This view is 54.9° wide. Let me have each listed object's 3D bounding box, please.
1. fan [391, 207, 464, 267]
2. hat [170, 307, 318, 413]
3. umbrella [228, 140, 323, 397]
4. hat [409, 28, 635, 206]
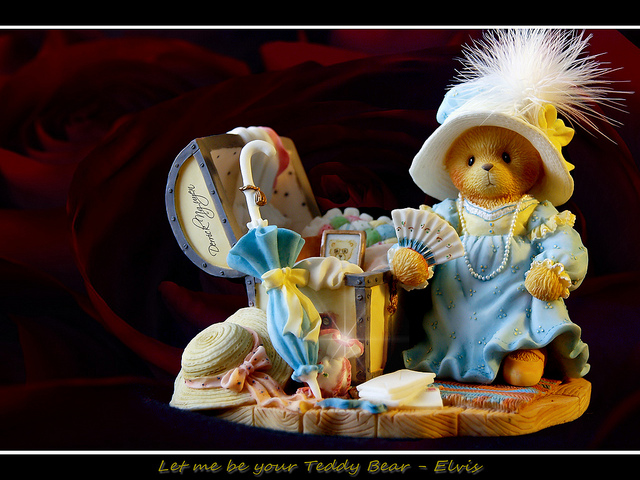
[{"bbox_3d":[0.547,-0.023,3.075,0.322,0.281,0.256,5,15,33],"label":"fan"},{"bbox_3d":[-0.291,0.612,3.010,0.576,0.425,0.646,8,11,38],"label":"hat"},{"bbox_3d":[-0.226,0.104,2.994,0.355,1.204,0.510,-3,0,-41],"label":"umbrella"},{"bbox_3d":[1.154,-0.628,3.393,0.804,0.993,1.068,-14,23,-31],"label":"hat"}]
